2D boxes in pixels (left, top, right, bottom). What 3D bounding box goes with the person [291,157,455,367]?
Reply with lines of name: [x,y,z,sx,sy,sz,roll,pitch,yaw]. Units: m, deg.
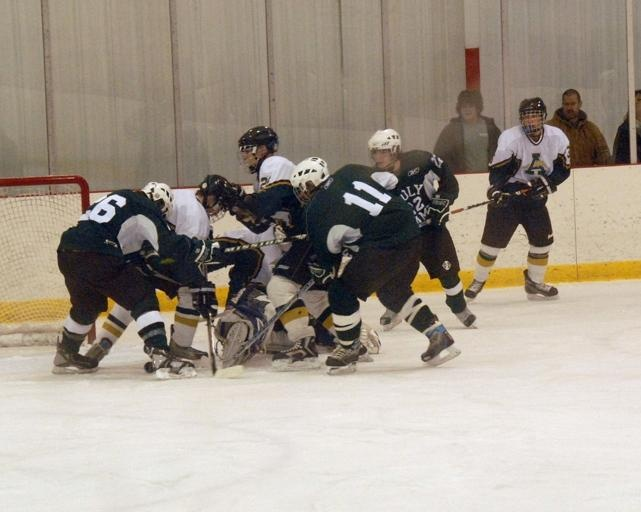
person: [0.279,0.057,4.948,0.944,1.196,0.518,-1,9,9]

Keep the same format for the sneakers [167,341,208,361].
sneakers: [-0.800,0.578,5.396,0.267,0.104,0.085,9,9,-21]

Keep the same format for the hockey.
hockey: [-0.551,0.461,5.003,0.200,0.463,0.095,-20,41,-24]

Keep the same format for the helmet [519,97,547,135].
helmet: [1.604,-1.070,6.796,0.215,0.258,0.275,-6,9,16]

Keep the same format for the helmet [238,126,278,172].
helmet: [-0.406,-0.690,5.712,0.297,0.320,0.255,-3,2,-2]

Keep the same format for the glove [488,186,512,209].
glove: [1.359,-0.460,6.828,0.165,0.059,0.124,-7,-19,19]

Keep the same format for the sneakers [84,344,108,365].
sneakers: [-1.301,0.564,5.232,0.141,0.084,0.141,-45,19,-15]

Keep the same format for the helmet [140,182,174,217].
helmet: [-0.979,-0.342,5.261,0.202,0.153,0.197,-21,4,-33]

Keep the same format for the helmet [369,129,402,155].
helmet: [0.423,-0.748,5.820,0.184,0.162,0.153,1,4,-16]

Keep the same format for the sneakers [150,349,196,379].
sneakers: [-0.810,0.589,4.906,0.233,0.096,0.139,8,6,-6]

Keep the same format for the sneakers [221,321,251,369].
sneakers: [-0.475,0.533,5.281,0.079,0.188,0.254,29,40,-16]

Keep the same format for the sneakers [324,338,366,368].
sneakers: [0.159,0.534,4.948,0.104,0.122,0.309,6,8,37]
